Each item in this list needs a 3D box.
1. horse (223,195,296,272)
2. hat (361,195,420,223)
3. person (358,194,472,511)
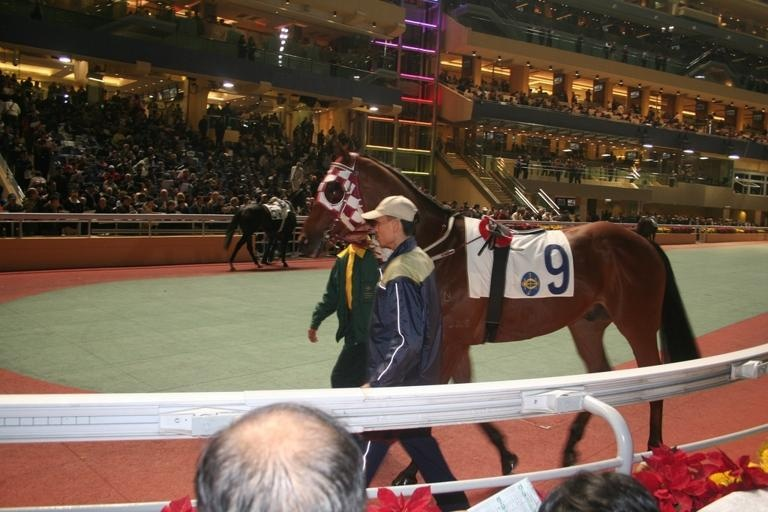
[{"bbox_3d":[-2.547,-0.543,13.206,0.636,1.563,2.224,0,0,33],"label":"horse"},{"bbox_3d":[0.068,-0.278,3.862,0.272,0.132,0.171,6,3,5],"label":"hat"},{"bbox_3d":[0.180,0.537,3.629,0.603,1.742,0.795,0,8,-3],"label":"person"}]
